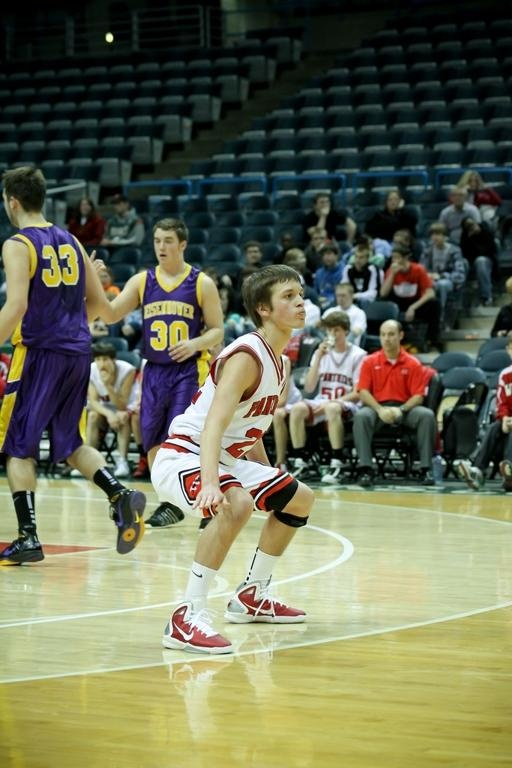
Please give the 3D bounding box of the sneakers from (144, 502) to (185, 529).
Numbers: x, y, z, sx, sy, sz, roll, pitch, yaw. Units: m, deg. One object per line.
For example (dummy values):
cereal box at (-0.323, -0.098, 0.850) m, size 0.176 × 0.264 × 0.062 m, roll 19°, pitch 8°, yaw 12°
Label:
sneakers at (-0.583, 0.834, 5.153) m, size 0.126 × 0.137 × 0.354 m, roll -5°, pitch -11°, yaw 24°

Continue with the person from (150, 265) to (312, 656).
person at (-0.121, 0.204, 2.575) m, size 0.491 × 1.220 × 0.706 m, roll 1°, pitch 2°, yaw 22°

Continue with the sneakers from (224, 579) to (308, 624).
sneakers at (0.026, 0.755, 2.804) m, size 0.328 × 0.145 × 0.114 m, roll 1°, pitch -4°, yaw -5°

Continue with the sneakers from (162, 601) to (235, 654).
sneakers at (-0.177, 0.722, 2.425) m, size 0.265 × 0.133 × 0.091 m, roll 1°, pitch -8°, yaw 21°

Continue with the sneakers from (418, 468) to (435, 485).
sneakers at (1.427, 0.779, 6.847) m, size 0.116 × 0.144 × 0.164 m, roll 2°, pitch -10°, yaw -10°

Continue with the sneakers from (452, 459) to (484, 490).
sneakers at (1.760, 0.759, 6.757) m, size 0.120 × 0.242 × 0.091 m, roll -29°, pitch -9°, yaw -38°
